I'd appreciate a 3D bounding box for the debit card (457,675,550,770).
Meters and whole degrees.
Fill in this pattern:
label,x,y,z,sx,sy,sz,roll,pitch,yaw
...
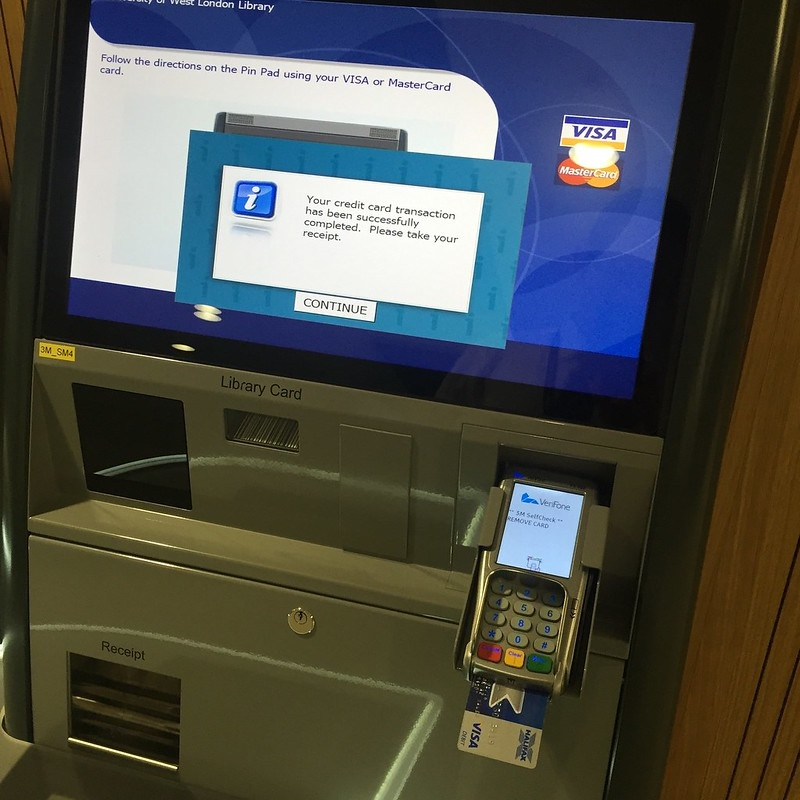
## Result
label,x,y,z,sx,sy,sz,roll,pitch,yaw
debit card,0.141,0.436,1.057,0.105,0.079,0.054,12,13,13
